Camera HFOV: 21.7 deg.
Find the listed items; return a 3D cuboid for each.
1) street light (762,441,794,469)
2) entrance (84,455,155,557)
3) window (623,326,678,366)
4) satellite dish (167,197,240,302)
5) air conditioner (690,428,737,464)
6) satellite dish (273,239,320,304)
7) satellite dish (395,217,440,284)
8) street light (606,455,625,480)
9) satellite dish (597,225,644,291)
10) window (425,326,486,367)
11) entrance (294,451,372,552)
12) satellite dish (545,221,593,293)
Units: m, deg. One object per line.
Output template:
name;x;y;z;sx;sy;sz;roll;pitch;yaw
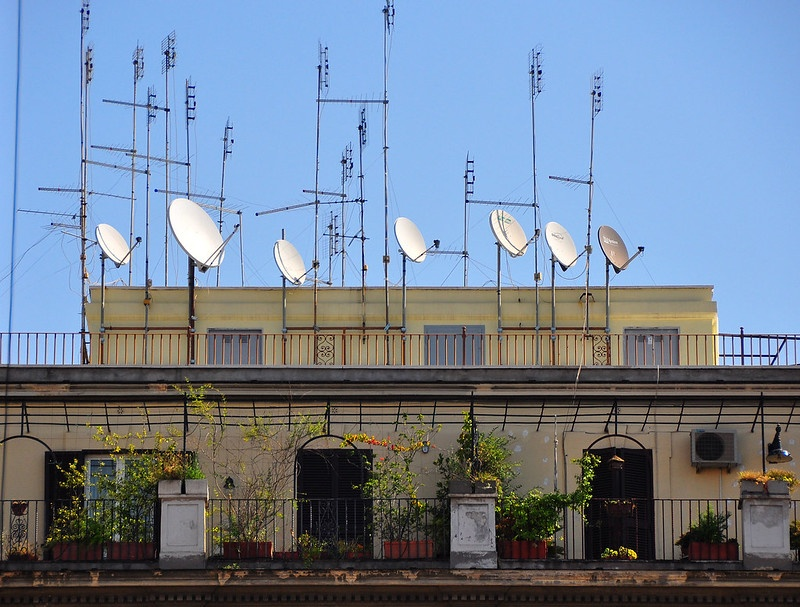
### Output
street light;8.431;3.353;46.531;0.587;0.581;0.799;12;-26;-15
entrance;-5.969;4.512;46.614;1.465;2.312;0.670;0;-3;1
window;6.296;1.238;52.248;0.920;0.758;0.561;1;-3;18
satellite dish;-4.417;-1.494;50.065;1.747;1.511;1.970;0;18;-46
air conditioner;7.322;3.381;48.478;0.644;0.630;0.249;1;-19;1
satellite dish;-2.332;-0.552;48.345;0.416;1.193;1.241;-20;-66;29
satellite dish;0.568;-1.313;52.133;1.041;1.627;1.164;-4;-6;37
street light;5.027;3.770;47.646;0.427;0.488;0.467;1;-6;-19
satellite dish;5.595;-1.117;51.775;1.227;1.597;1.281;5;-4;42
window;1.410;0.913;52.559;1.404;0.842;1.103;0;-47;2
entrance;-1.425;4.293;48.539;1.682;0.162;2.679;-2;-45;-2
satellite dish;3.430;-0.974;42.964;1.094;1.269;1.158;-4;-33;4
